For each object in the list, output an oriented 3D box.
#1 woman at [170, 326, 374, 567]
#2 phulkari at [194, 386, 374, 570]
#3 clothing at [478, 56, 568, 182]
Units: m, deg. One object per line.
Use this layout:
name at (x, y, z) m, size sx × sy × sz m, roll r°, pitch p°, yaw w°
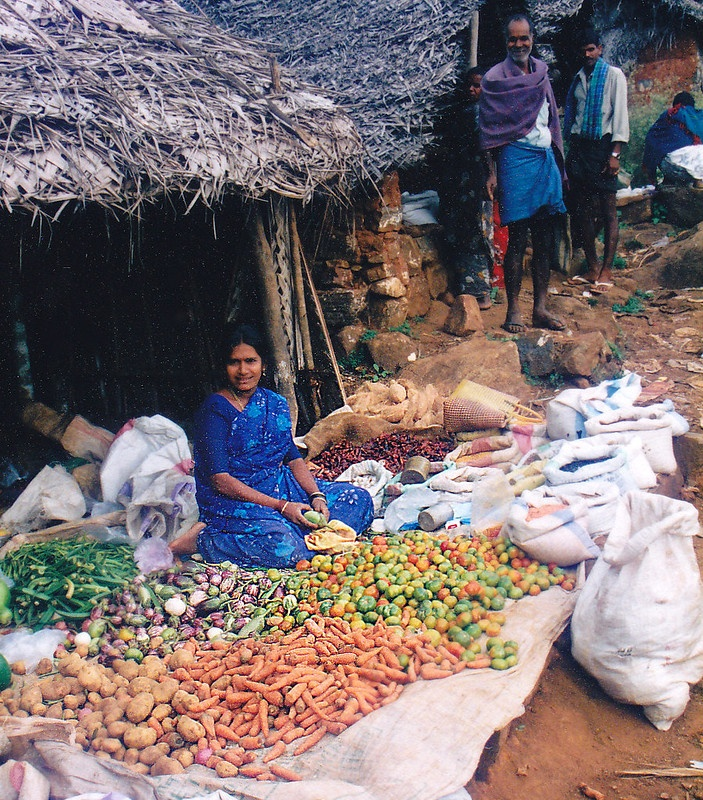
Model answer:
woman at (-0.475, 0.284, 4.824) m, size 1.053 × 1.286 × 1.155 m, roll 3°, pitch 8°, yaw 28°
phulkari at (-0.404, 0.313, 4.906) m, size 1.022 × 1.099 × 1.078 m, roll 2°, pitch 9°, yaw 32°
clothing at (1.412, -2.242, 6.590) m, size 0.691 × 1.052 × 0.348 m, roll -12°, pitch 21°, yaw -8°
